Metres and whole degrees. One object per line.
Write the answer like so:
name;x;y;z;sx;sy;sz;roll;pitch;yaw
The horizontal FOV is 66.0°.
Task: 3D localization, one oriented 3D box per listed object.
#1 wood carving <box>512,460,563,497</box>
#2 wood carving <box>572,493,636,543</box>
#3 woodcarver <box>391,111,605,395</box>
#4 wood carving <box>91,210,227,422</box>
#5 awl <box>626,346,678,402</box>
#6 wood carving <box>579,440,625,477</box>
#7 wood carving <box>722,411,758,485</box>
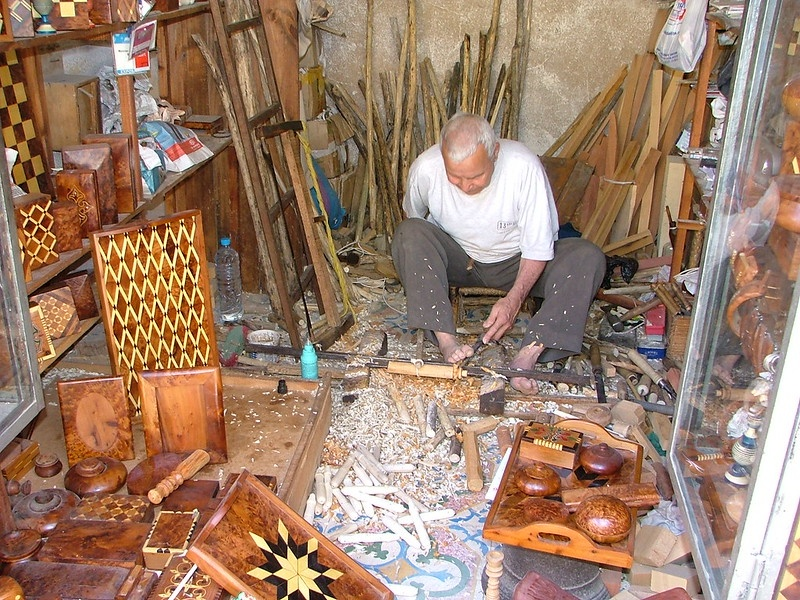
wood carving;0.555;0.747;2.559;0.133;0.066;0.137;14;26;36
wood carving;0.770;0.834;2.337;0.211;0.108;0.166;-10;26;-16
woodcarver;0.555;-0.283;4.132;1.167;1.839;1.217;-2;25;-6
wood carving;-1.195;-0.029;3.027;0.408;1.082;0.548;13;24;24
awl;1.537;0.430;3.891;0.085;0.084;0.536;-36;42;-4
wood carving;0.871;0.700;2.690;0.184;0.089;0.147;12;28;27
wood carving;1.105;0.478;1.972;0.108;0.226;0.112;13;11;20
